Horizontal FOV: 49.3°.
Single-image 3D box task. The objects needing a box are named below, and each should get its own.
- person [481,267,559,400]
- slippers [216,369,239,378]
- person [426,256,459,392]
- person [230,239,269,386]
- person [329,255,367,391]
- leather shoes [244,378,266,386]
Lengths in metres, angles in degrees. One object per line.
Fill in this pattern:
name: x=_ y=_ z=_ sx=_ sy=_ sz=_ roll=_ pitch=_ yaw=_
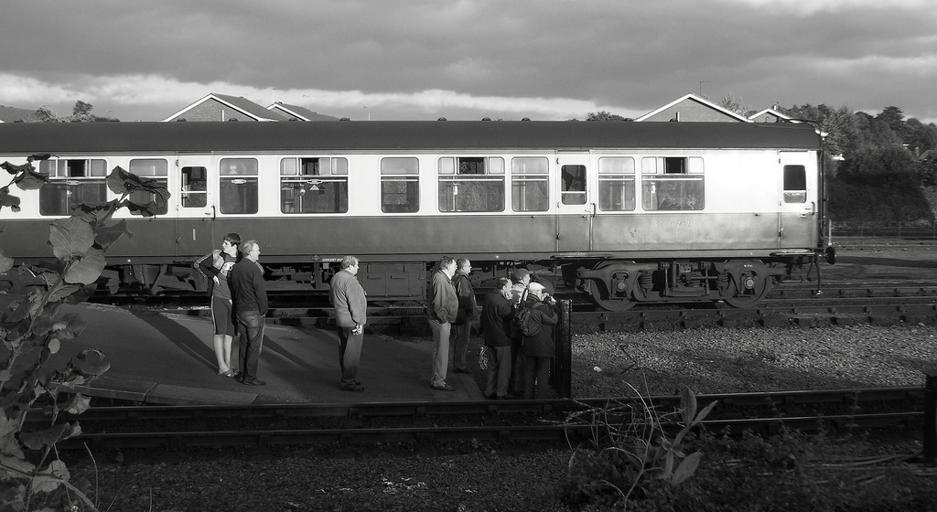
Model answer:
person: x=1.175 y=1.851 z=22.533 sx=1.626 sy=2.536 sz=0.746 roll=-1 pitch=2 yaw=3
slippers: x=-5.442 y=2.663 z=23.249 sx=0.552 sy=0.205 sz=0.182 roll=1 pitch=27 yaw=-2
person: x=-0.544 y=1.491 z=23.151 sx=0.720 sy=2.957 sz=0.761 roll=-2 pitch=2 yaw=-3
person: x=-4.938 y=1.280 z=22.914 sx=0.809 sy=3.214 sz=0.478 roll=-2 pitch=2 yaw=-7
person: x=-2.711 y=1.488 z=23.009 sx=0.751 sy=2.985 sz=1.003 roll=-2 pitch=2 yaw=-10
leather shoes: x=-4.772 y=2.815 z=22.916 sx=0.493 sy=0.185 sz=0.174 roll=-3 pitch=4 yaw=-9
